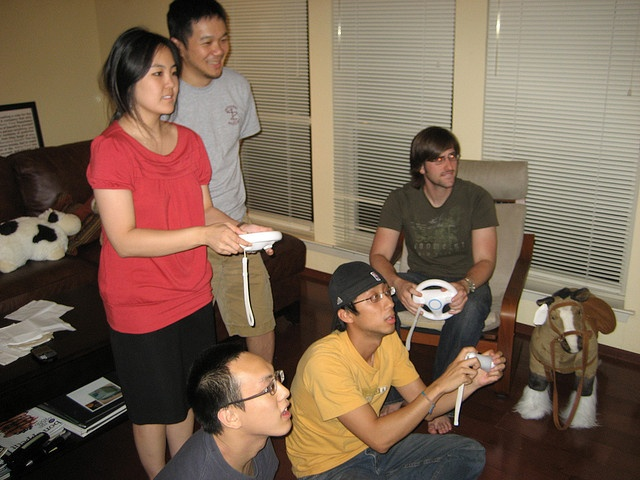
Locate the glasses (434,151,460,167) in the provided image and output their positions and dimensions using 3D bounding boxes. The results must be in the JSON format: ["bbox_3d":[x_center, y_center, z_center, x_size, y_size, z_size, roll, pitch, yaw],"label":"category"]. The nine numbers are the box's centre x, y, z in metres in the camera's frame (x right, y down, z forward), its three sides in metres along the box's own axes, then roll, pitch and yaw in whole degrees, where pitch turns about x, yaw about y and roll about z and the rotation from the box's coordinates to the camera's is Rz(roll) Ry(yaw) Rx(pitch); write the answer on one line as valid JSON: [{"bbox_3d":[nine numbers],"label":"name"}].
[{"bbox_3d":[0.756,-0.482,2.808,0.194,0.074,0.074,-15,22,-31],"label":"glasses"}]

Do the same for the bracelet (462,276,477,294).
[{"bbox_3d":[0.846,0.255,2.713,0.061,0.085,0.033,1,20,45],"label":"bracelet"}]

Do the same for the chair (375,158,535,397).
[{"bbox_3d":[0.931,0.164,3.063,0.769,1.106,1.082,10,32,25],"label":"chair"}]

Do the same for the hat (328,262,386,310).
[{"bbox_3d":[0.141,0.218,2.009,0.246,0.197,0.196,-19,-20,28],"label":"hat"}]

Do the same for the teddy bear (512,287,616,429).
[{"bbox_3d":[1.610,0.595,3.080,0.509,0.810,1.276,0,9,31],"label":"teddy bear"}]

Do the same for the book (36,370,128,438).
[{"bbox_3d":[-1.184,0.849,2.430,0.318,0.069,0.312,-18,29,-40],"label":"book"}]
